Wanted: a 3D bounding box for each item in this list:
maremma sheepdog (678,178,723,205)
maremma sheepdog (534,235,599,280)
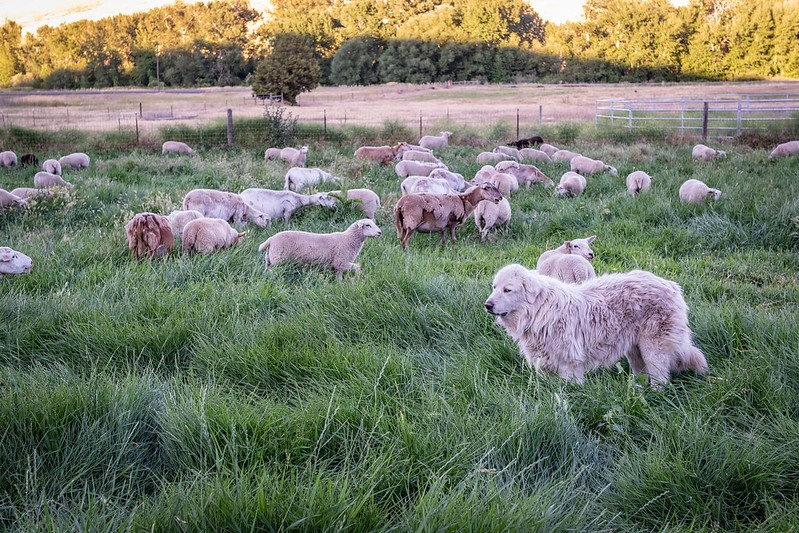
[{"bbox_3d":[6.388,-1.601,16.846,1.230,0.720,0.417,-4,11,-34],"label":"maremma sheepdog"},{"bbox_3d":[2.811,-0.114,12.841,0.552,0.881,1.106,9,15,39],"label":"maremma sheepdog"}]
